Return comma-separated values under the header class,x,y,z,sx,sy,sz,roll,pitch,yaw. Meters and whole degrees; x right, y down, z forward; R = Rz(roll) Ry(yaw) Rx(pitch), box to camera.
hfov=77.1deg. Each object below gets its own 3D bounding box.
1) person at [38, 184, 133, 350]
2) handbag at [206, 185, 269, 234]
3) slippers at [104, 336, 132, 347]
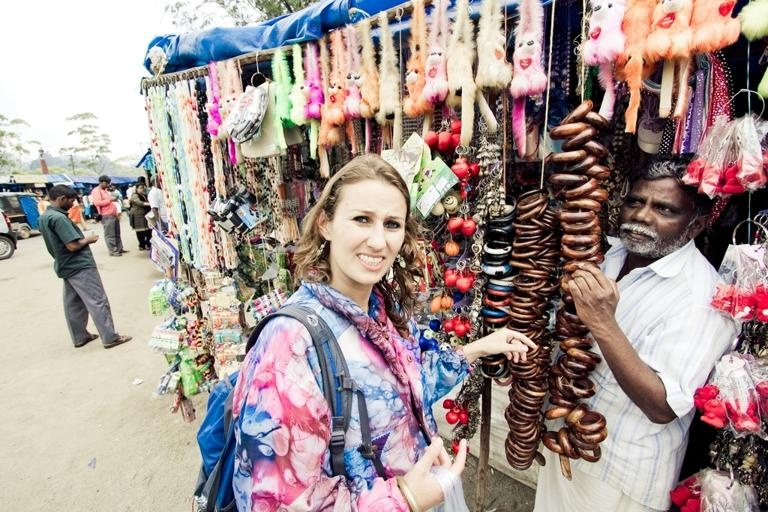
class,x,y,z,sx,sy,sz,roll,pitch,yaw
person,-3.912,0.146,6.227,0.656,2.151,0.570,4,15,37
handbag,-1.240,-0.413,4.243,0.430,0.434,0.290,-35,12,0
slippers,-3.513,1.133,6.398,0.305,0.131,0.100,-20,30,-40
